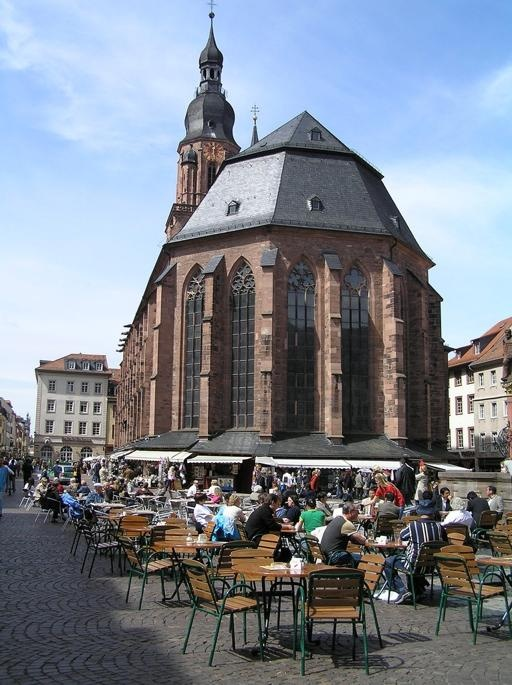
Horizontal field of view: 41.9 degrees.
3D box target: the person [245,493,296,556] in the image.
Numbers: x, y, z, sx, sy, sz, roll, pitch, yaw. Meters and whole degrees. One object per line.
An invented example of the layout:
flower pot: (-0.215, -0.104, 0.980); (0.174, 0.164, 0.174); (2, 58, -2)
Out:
person: (0.184, 2.813, 10.155); (0.731, 0.982, 0.461); (2, 2, -15)
